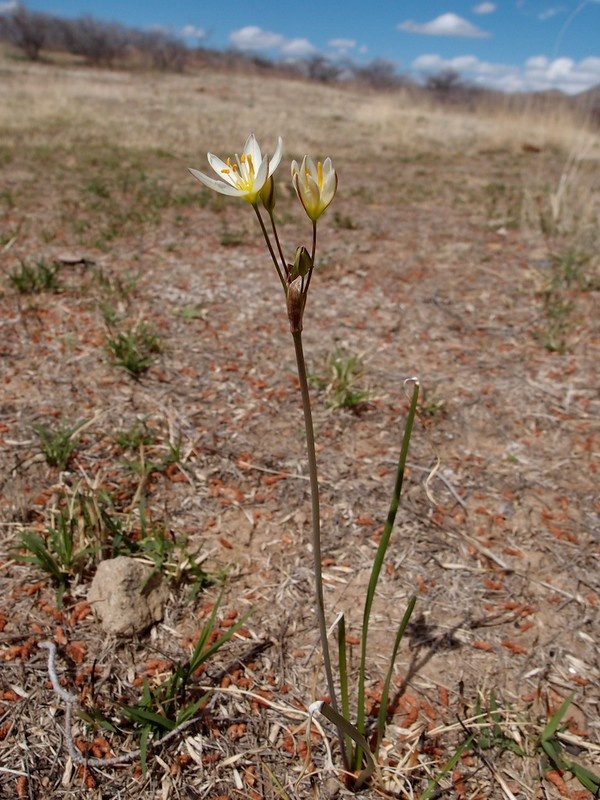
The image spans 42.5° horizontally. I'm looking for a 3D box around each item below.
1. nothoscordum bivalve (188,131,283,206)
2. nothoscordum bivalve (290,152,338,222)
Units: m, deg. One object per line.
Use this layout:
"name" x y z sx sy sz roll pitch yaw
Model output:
"nothoscordum bivalve" -0.181 -0.612 2.050 0.175 0.162 0.336 -17 31 -42
"nothoscordum bivalve" 0.031 -0.536 2.027 0.113 0.158 0.112 -19 23 -31
